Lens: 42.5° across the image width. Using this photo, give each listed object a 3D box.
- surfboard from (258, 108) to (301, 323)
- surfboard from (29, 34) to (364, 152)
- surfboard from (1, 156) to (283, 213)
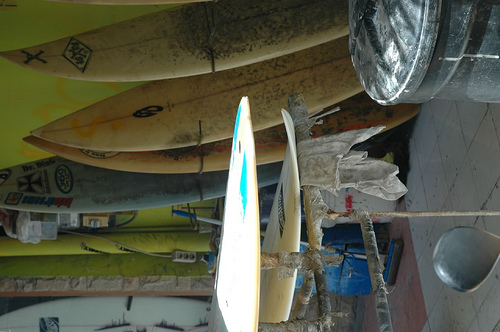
[{"bbox_3d":[0.183,0.395,4.261,0.219,1.561,0.263,-2,10,3],"label":"surfboard"},{"bbox_3d":[-1.021,-0.809,6.756,1.521,0.998,4.465,12,21,43],"label":"surfboard"},{"bbox_3d":[-1.181,0.151,6.280,3.031,0.698,0.282,-6,3,-9],"label":"surfboard"}]
